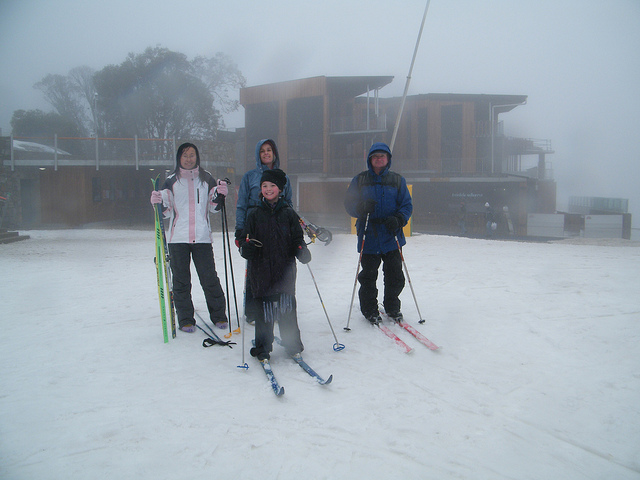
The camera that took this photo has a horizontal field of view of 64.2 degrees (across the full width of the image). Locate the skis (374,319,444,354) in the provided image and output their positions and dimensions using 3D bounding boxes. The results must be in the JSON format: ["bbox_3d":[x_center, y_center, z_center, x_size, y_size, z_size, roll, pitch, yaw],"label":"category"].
[{"bbox_3d":[0.867,1.043,5.524,0.236,0.054,0.811,-14,13,-20],"label":"skis"}]

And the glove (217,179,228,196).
[{"bbox_3d":[-1.100,-0.573,5.708,0.106,0.176,0.160,-2,7,-12],"label":"glove"}]

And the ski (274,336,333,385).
[{"bbox_3d":[-0.191,1.161,5.095,0.115,0.169,1.097,-16,20,-21],"label":"ski"}]

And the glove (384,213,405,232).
[{"bbox_3d":[0.828,-0.191,5.754,0.180,0.112,0.265,2,-2,3],"label":"glove"}]

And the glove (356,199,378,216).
[{"bbox_3d":[0.525,-0.360,5.826,0.236,0.179,0.142,1,7,7],"label":"glove"}]

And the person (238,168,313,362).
[{"bbox_3d":[-0.457,0.261,5.015,0.664,1.869,0.467,-1,6,-11],"label":"person"}]

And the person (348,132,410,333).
[{"bbox_3d":[0.715,-0.082,6.151,0.738,2.107,1.232,1,6,10],"label":"person"}]

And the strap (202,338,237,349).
[{"bbox_3d":[-1.087,1.074,5.298,0.219,0.022,0.122,1,26,-5],"label":"strap"}]

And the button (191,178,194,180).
[{"bbox_3d":[-1.422,-0.666,5.642,0.019,0.021,0.021,-3,0,-13],"label":"button"}]

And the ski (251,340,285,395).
[{"bbox_3d":[-0.475,1.218,4.834,0.076,0.105,0.783,-3,24,-17],"label":"ski"}]

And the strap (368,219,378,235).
[{"bbox_3d":[0.607,-0.137,5.865,0.120,0.186,0.062,-2,-1,9],"label":"strap"}]

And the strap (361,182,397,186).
[{"bbox_3d":[0.680,-0.643,5.945,0.405,0.037,0.071,0,7,2],"label":"strap"}]

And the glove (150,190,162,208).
[{"bbox_3d":[-1.755,-0.424,5.442,0.114,0.166,0.053,-4,9,-44],"label":"glove"}]

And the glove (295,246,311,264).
[{"bbox_3d":[-0.172,0.156,4.951,0.153,0.185,0.199,0,7,-1],"label":"glove"}]

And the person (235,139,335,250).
[{"bbox_3d":[-0.371,-0.420,5.417,1.177,1.315,0.623,11,12,35],"label":"person"}]
